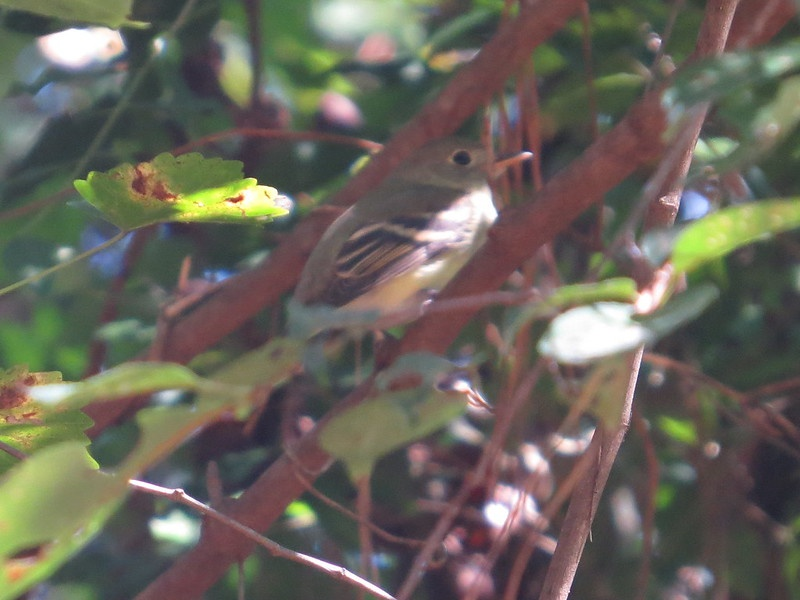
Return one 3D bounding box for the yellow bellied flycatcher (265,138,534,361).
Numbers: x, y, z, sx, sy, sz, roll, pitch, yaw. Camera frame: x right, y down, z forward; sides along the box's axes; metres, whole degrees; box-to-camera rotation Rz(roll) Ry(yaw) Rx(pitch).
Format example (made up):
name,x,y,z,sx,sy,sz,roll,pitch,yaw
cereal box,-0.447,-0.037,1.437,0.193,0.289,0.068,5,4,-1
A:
name,x,y,z,sx,sy,sz,roll,pitch,yaw
yellow bellied flycatcher,-0.017,-0.113,1.846,0.524,0.331,0.199,-12,6,-8
